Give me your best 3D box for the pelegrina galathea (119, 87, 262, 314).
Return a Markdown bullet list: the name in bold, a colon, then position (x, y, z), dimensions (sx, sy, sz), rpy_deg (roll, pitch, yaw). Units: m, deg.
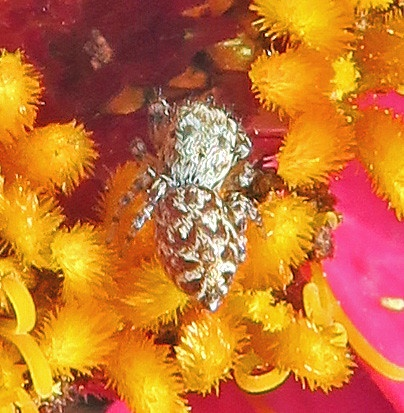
- **pelegrina galathea**: position (-0.017, 0.001, 1.530), dimensions (0.281, 0.149, 0.417), rpy_deg (1, 82, -24)
